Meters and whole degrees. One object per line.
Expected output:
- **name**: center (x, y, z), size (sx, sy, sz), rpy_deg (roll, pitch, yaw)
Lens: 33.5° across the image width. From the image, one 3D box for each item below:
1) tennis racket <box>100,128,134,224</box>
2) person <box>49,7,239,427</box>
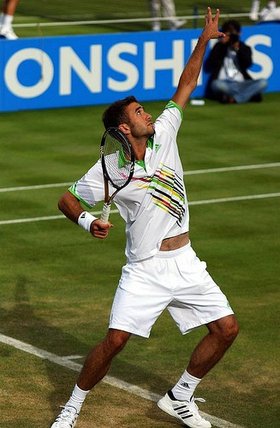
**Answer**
- **tennis racket**: center (-0.119, -0.194, 2.121), size (0.023, 0.413, 0.174), rpy_deg (14, -5, 43)
- **person**: center (0.009, 0.132, 2.542), size (0.952, 2.037, 0.872), rpy_deg (0, 10, -8)
